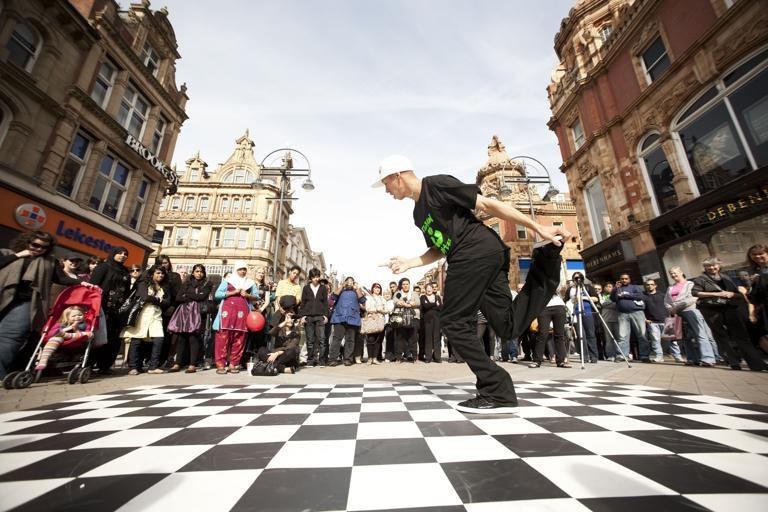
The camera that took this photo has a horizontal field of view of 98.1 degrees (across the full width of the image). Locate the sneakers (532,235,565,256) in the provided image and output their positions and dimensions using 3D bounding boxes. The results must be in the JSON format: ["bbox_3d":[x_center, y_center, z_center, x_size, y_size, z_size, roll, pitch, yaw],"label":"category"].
[{"bbox_3d":[1.771,-0.115,3.656,0.150,0.203,0.353,-4,7,-25],"label":"sneakers"}]

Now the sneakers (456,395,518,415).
[{"bbox_3d":[1.085,1.637,3.717,0.687,0.259,0.226,2,-34,7],"label":"sneakers"}]

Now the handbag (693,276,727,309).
[{"bbox_3d":[6.025,0.682,6.180,0.503,0.277,0.512,-31,9,30],"label":"handbag"}]
